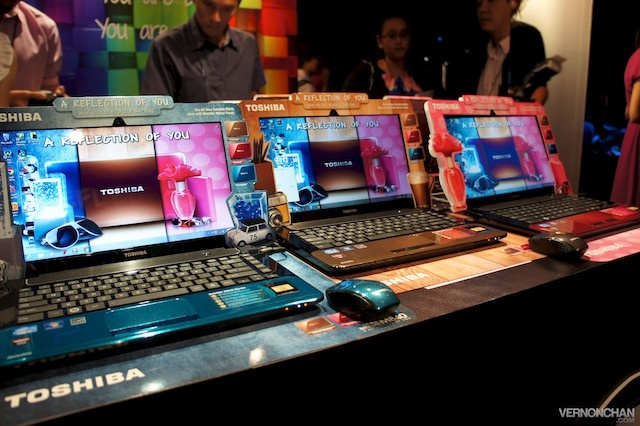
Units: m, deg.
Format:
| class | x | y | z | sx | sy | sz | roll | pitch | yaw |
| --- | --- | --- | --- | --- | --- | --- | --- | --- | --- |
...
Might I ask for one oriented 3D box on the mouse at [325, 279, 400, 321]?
| class | x | y | z | sx | sy | sz | roll | pitch | yaw |
| --- | --- | --- | --- | --- | --- | --- | --- | --- | --- |
| mouse | 0.122 | 0.240 | 1.291 | 0.167 | 0.059 | 0.119 | 17 | 22 | 37 |
